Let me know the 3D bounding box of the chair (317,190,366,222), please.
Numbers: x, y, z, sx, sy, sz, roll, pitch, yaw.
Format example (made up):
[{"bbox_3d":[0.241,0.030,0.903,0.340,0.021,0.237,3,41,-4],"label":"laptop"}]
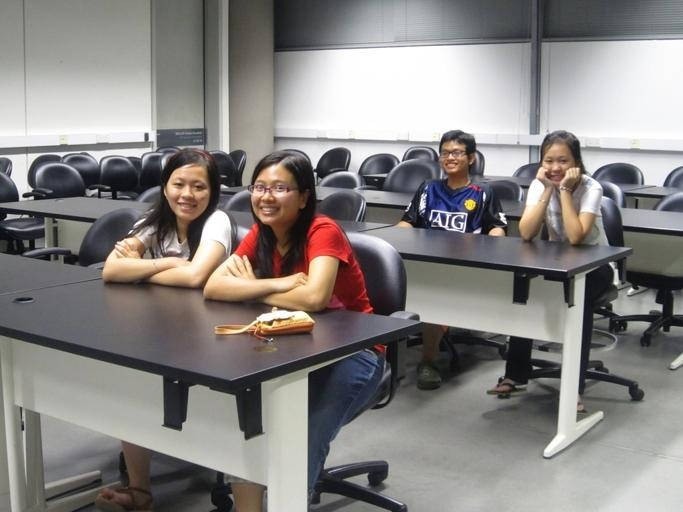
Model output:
[{"bbox_3d":[0.023,-0.299,3.202,0.201,0.229,0.211,10,10,37],"label":"chair"}]

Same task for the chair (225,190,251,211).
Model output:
[{"bbox_3d":[-0.624,-0.337,3.399,0.142,0.182,0.158,3,0,9],"label":"chair"}]

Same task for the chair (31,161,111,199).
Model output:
[{"bbox_3d":[-2.831,-0.800,5.696,0.534,0.688,0.447,-11,15,-38],"label":"chair"}]

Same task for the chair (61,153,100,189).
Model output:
[{"bbox_3d":[-2.988,-0.988,6.424,0.351,0.442,0.455,-5,-1,-20],"label":"chair"}]

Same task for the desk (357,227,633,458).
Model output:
[{"bbox_3d":[0.749,0.171,2.744,1.537,1.010,0.840,9,16,38],"label":"desk"}]

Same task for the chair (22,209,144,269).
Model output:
[{"bbox_3d":[-1.374,-0.102,2.931,0.339,0.470,0.363,13,8,35],"label":"chair"}]

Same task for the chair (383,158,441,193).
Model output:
[{"bbox_3d":[0.677,-0.732,5.080,0.358,0.468,0.401,10,3,24],"label":"chair"}]

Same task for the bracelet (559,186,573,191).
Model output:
[{"bbox_3d":[1.168,-0.349,2.829,0.065,0.027,0.037,1,11,1],"label":"bracelet"}]

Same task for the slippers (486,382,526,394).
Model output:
[{"bbox_3d":[0.916,0.721,3.034,0.227,0.054,0.083,-1,-1,-17],"label":"slippers"}]
